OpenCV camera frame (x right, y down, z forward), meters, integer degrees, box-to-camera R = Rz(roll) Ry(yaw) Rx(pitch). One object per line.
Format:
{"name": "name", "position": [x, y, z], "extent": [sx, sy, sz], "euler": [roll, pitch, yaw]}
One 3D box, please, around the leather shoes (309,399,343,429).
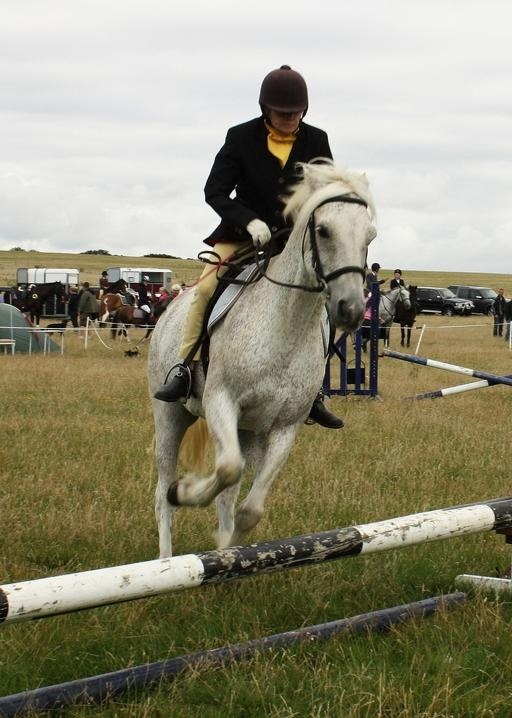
{"name": "leather shoes", "position": [0.491, 0.411, 5.062], "extent": [0.139, 0.175, 0.390], "euler": [-5, 3, -24]}

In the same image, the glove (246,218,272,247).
{"name": "glove", "position": [0.017, -0.730, 3.929], "extent": [0.129, 0.160, 0.064], "euler": [-4, -8, -24]}

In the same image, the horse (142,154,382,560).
{"name": "horse", "position": [-0.105, 0.252, 4.380], "extent": [0.844, 2.075, 2.988], "euler": [13, -15, -17]}

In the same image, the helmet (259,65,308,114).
{"name": "helmet", "position": [0.166, -1.604, 3.997], "extent": [0.270, 0.240, 0.234], "euler": [5, 3, -6]}

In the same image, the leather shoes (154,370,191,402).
{"name": "leather shoes", "position": [-0.534, 0.180, 4.447], "extent": [0.170, 0.129, 0.272], "euler": [10, 46, 28]}

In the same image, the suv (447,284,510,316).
{"name": "suv", "position": [15.247, -4.009, 46.715], "extent": [4.823, 1.929, 2.400], "euler": [4, 8, 40]}
